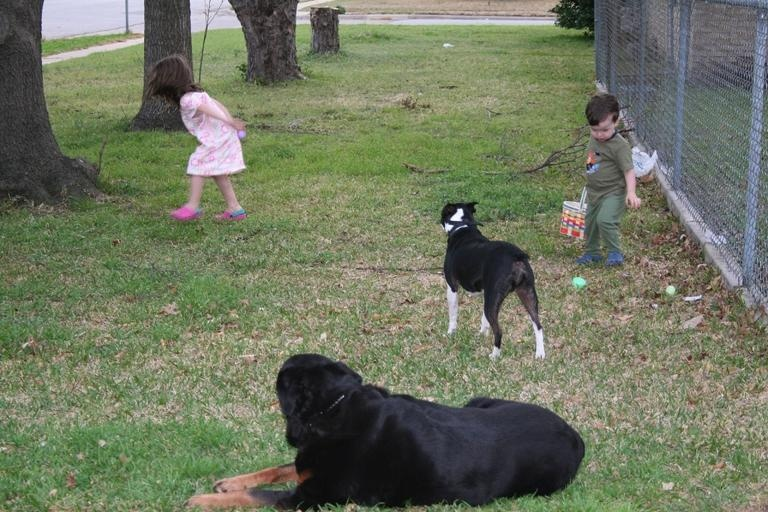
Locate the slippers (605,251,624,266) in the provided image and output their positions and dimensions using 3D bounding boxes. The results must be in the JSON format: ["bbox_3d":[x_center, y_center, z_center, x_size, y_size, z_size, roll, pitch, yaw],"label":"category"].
[{"bbox_3d":[2.730,0.039,9.163,0.145,0.135,0.279,-2,2,23],"label":"slippers"}]

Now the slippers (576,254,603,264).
[{"bbox_3d":[2.474,0.043,9.354,0.298,0.136,0.120,4,-3,0],"label":"slippers"}]

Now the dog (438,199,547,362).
[{"bbox_3d":[0.998,0.293,7.645,0.552,1.223,1.224,-14,24,-27],"label":"dog"}]

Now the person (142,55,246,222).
[{"bbox_3d":[-2.480,-1.595,10.532,1.158,2.145,0.973,-6,21,-8],"label":"person"}]

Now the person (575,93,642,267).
[{"bbox_3d":[2.621,-0.865,9.035,0.596,1.945,0.540,5,22,21],"label":"person"}]

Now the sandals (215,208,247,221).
[{"bbox_3d":[-2.108,-0.577,10.630,0.380,0.152,0.166,2,7,9],"label":"sandals"}]

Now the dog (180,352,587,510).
[{"bbox_3d":[0.188,1.282,6.228,2.383,0.960,1.354,1,-2,3],"label":"dog"}]
